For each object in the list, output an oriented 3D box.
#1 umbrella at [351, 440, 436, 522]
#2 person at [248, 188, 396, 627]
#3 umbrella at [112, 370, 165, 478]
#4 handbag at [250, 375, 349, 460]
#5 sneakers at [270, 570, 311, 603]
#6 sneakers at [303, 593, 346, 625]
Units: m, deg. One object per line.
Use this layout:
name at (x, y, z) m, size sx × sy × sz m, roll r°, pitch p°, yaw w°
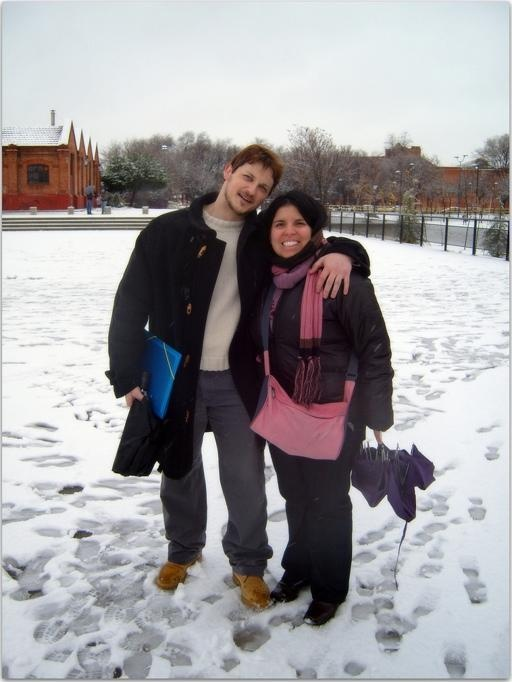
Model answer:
umbrella at (0.532, 0.527, 2.088) m, size 0.308 × 0.314 × 0.144 m, roll 24°, pitch 3°, yaw 20°
person at (0.254, 0.275, 2.116) m, size 0.554 × 1.705 × 0.354 m, roll 3°, pitch 10°, yaw 18°
umbrella at (-0.496, 0.403, 2.244) m, size 0.211 × 0.323 × 0.125 m, roll -2°, pitch 10°, yaw -11°
handbag at (0.183, 0.287, 2.055) m, size 0.281 × 0.295 × 0.122 m, roll 19°, pitch -13°, yaw 18°
sneakers at (0.151, 1.058, 2.309) m, size 0.062 × 0.076 × 0.185 m, roll -4°, pitch -6°, yaw 42°
sneakers at (0.270, 1.075, 2.148) m, size 0.062 × 0.074 × 0.180 m, roll -5°, pitch -12°, yaw 36°
